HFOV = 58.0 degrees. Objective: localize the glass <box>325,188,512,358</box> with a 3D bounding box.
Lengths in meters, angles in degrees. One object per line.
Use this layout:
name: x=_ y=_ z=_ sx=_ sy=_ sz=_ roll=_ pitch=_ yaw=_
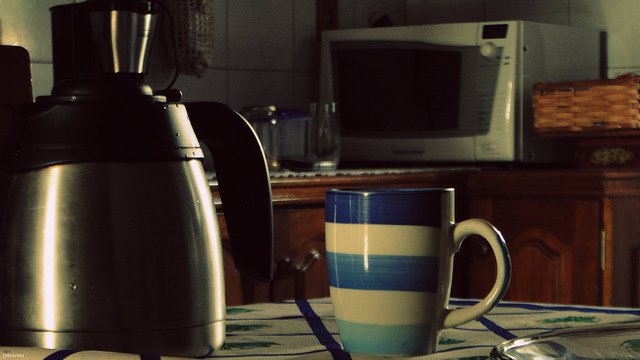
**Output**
glass: x=0.145 y=0.089 z=0.696 sx=0.274 sy=0.247 sz=0.127 roll=0 pitch=0 yaw=21
